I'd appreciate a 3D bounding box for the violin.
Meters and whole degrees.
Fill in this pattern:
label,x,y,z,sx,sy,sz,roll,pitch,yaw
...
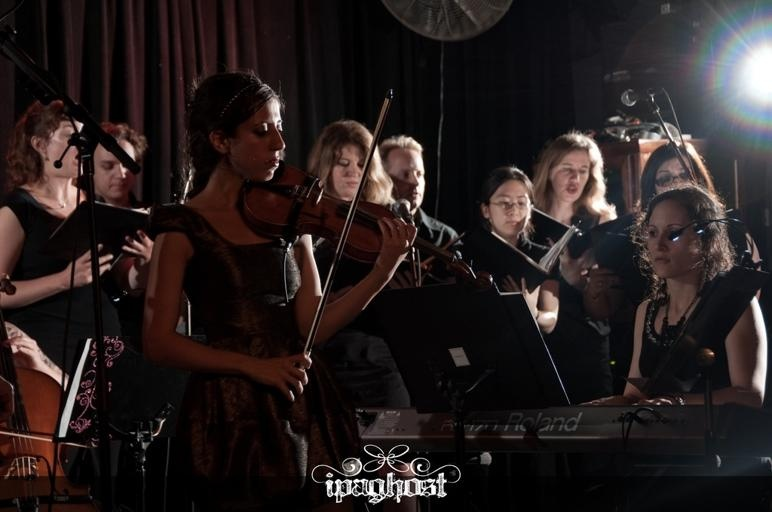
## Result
label,x,y,z,sx,sy,sz,roll,pitch,yaw
violin,-0.129,-0.038,2.396,0.941,0.326,0.185,19,-36,-24
